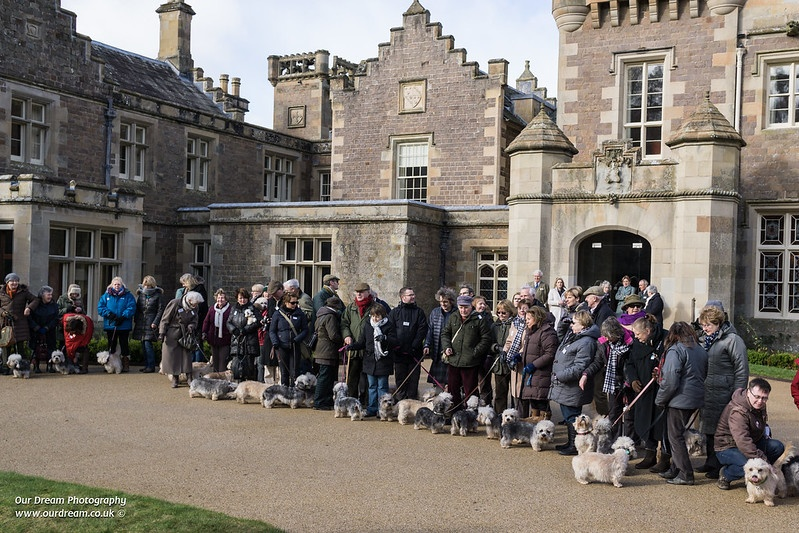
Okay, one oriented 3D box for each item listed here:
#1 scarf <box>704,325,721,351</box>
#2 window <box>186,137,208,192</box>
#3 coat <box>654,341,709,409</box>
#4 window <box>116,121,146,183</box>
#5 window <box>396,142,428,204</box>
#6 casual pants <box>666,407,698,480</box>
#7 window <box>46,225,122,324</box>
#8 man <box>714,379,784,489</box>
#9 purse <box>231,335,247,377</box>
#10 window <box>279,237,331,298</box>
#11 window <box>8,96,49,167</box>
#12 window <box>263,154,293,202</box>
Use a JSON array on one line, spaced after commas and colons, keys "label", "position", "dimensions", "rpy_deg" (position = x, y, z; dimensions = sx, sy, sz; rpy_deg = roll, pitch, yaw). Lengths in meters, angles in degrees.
[{"label": "scarf", "position": [5.994, 1.380, 25.522], "dimensions": [0.296, 0.358, 0.389], "rpy_deg": [6, -4, 1]}, {"label": "window", "position": [-6.405, -3.200, 41.587], "dimensions": [0.195, 1.834, 1.643], "rpy_deg": [-1, -4, 21]}, {"label": "coat", "position": [5.367, 2.056, 25.089], "dimensions": [1.211, 1.320, 0.789], "rpy_deg": [3, -3, -15]}, {"label": "window", "position": [-8.050, -3.414, 39.427], "dimensions": [0.248, 2.087, 1.861], "rpy_deg": [1, -1, 22]}, {"label": "window", "position": [0.427, -2.878, 40.485], "dimensions": [1.053, 1.917, 0.157], "rpy_deg": [3, -29, -2]}, {"label": "casual pants", "position": [5.316, 3.336, 25.070], "dimensions": [0.495, 1.377, 0.231], "rpy_deg": [0, -4, 12]}, {"label": "window", "position": [-8.054, 0.162, 33.446], "dimensions": [0.259, 2.966, 2.568], "rpy_deg": [6, 4, 37]}, {"label": "man", "position": [6.597, 3.167, 24.914], "dimensions": [1.395, 2.009, 1.240], "rpy_deg": [-4, 8, -40]}, {"label": "purse", "position": [-3.448, 1.966, 29.343], "dimensions": [0.481, 0.966, 0.267], "rpy_deg": [0, -1, 45]}, {"label": "window", "position": [-2.451, -0.010, 35.075], "dimensions": [1.587, 1.869, 0.207], "rpy_deg": [2, 4, 21]}, {"label": "window", "position": [-10.292, -3.766, 36.539], "dimensions": [0.292, 2.234, 1.948], "rpy_deg": [1, -1, 25]}, {"label": "window", "position": [-4.144, -2.985, 44.907], "dimensions": [0.248, 1.555, 1.789], "rpy_deg": [1, -3, 32]}]
